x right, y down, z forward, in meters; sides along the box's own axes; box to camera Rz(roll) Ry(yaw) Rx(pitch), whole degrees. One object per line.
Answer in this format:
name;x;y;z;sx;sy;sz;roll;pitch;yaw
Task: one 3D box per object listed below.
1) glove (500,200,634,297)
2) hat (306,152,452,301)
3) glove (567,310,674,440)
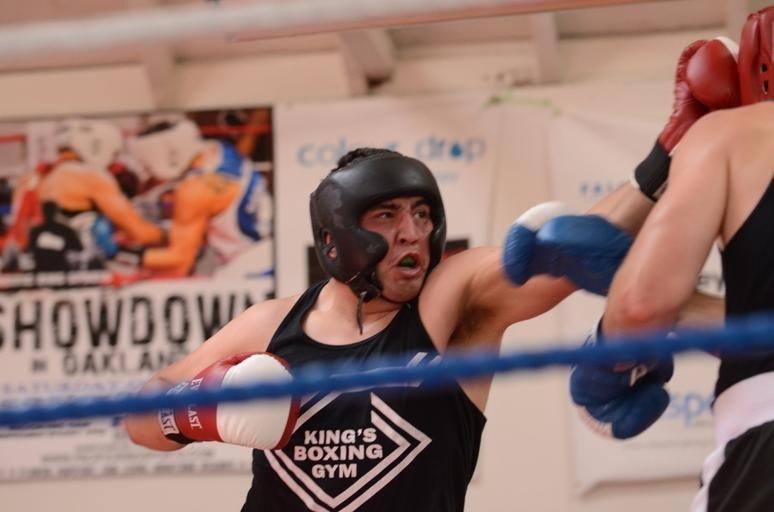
glove;0.673;-0.025;3.668;0.383;0.216;0.492;8;-15;6
hat;-0.040;-0.103;4.023;0.482;0.521;0.596;-8;-11;-37
glove;0.908;0.415;3.746;0.452;0.345;0.212;-50;-7;14
